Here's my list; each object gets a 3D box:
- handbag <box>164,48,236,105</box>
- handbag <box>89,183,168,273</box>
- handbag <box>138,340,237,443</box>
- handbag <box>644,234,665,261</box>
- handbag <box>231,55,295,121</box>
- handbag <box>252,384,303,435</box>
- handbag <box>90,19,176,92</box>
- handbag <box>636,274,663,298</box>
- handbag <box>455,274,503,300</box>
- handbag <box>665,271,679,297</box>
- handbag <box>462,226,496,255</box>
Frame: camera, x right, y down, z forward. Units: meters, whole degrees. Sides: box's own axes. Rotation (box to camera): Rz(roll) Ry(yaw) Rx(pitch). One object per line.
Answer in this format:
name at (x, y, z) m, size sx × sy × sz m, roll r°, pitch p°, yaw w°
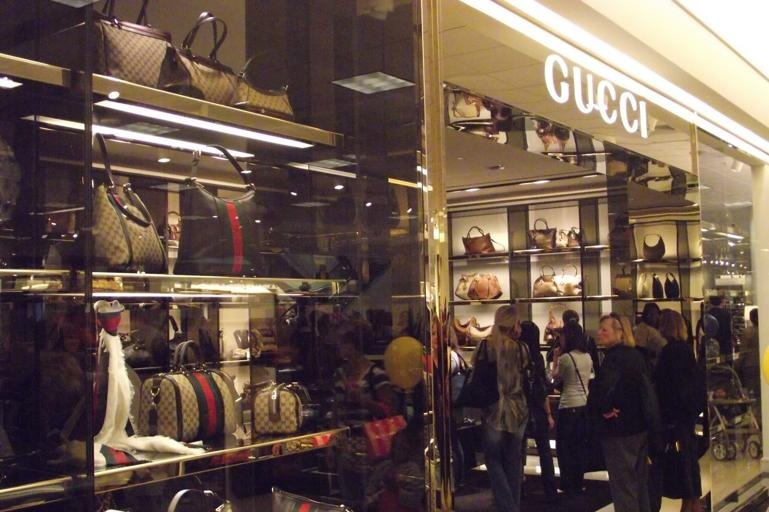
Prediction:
handbag at (-0.512, -0.490, 1.860) m, size 0.139 × 0.098 × 0.067 m, roll 15°, pitch -20°, yaw -11°
handbag at (-0.731, -0.081, 1.907) m, size 0.135 × 0.267 × 0.246 m, roll -12°, pitch -6°, yaw 14°
handbag at (-0.537, 0.373, 1.852) m, size 0.188 × 0.306 × 0.315 m, roll -3°, pitch -8°, yaw 30°
handbag at (1.369, -0.047, 3.467) m, size 0.107 × 0.145 × 0.091 m, roll -6°, pitch -10°, yaw 11°
handbag at (-0.333, -0.454, 1.860) m, size 0.221 × 0.157 × 0.085 m, roll 5°, pitch -5°, yaw -33°
handbag at (-0.312, 0.430, 1.873) m, size 0.138 × 0.131 × 0.074 m, roll 8°, pitch -16°, yaw -32°
handbag at (-0.675, -0.586, 1.881) m, size 0.199 × 0.119 × 0.189 m, roll 18°, pitch -48°, yaw -2°
handbag at (1.303, 0.143, 3.378) m, size 0.112 × 0.112 × 0.058 m, roll 2°, pitch 4°, yaw 42°
handbag at (1.034, 0.342, 7.503) m, size 0.495 × 0.313 × 0.276 m, roll -2°, pitch -31°, yaw 12°
handbag at (1.465, 0.148, 3.475) m, size 0.040 × 0.126 × 0.128 m, roll -3°, pitch -6°, yaw 44°
handbag at (1.081, -0.182, 7.768) m, size 0.278 × 0.265 × 0.121 m, roll -7°, pitch -26°, yaw 7°
